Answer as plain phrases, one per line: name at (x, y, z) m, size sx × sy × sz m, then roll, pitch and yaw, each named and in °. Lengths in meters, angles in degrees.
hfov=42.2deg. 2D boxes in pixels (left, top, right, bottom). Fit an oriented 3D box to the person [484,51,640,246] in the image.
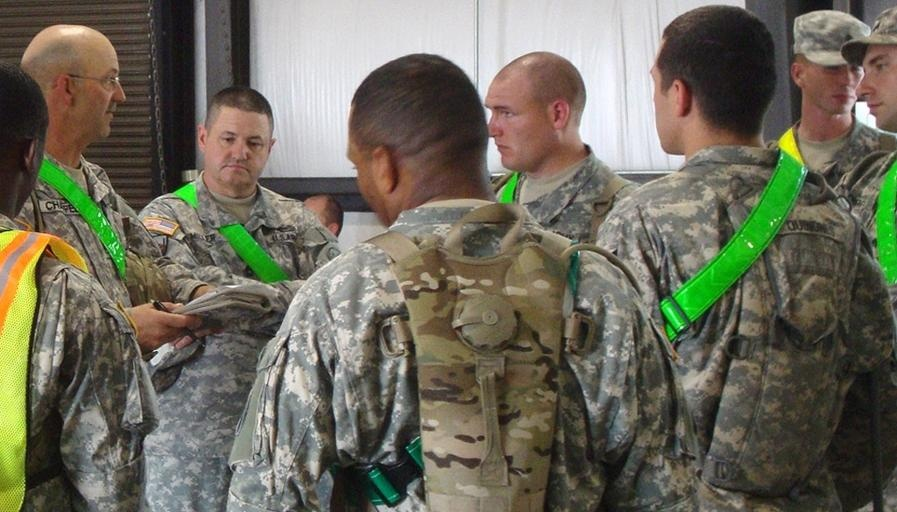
person at (0.576, -0.528, 5.624) m, size 0.512 × 0.668 × 1.024 m, roll -20°, pitch 17°, yaw -3°
